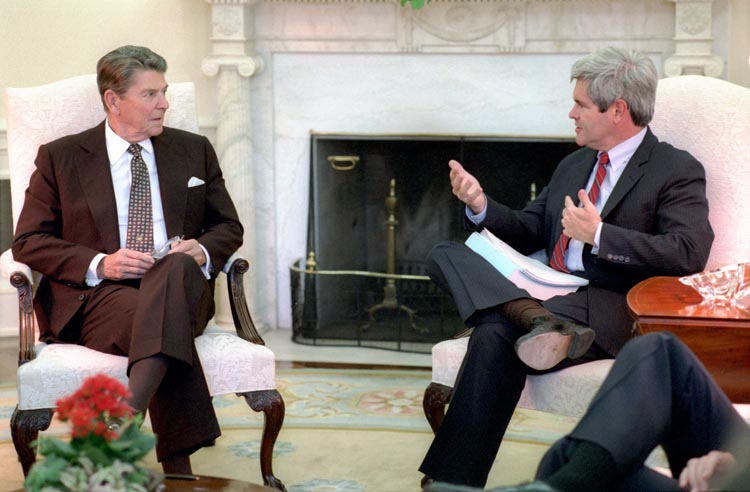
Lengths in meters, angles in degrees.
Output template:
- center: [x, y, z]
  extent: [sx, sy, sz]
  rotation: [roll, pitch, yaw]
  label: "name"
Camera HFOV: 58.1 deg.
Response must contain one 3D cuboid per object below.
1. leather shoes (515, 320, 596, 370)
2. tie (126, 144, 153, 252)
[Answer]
- center: [0.569, 0.316, 2.212]
  extent: [0.263, 0.139, 0.125]
  rotation: [-6, 25, -18]
  label: "leather shoes"
- center: [-0.912, -0.171, 2.643]
  extent: [0.105, 0.381, 0.031]
  rotation: [4, -11, -26]
  label: "tie"
